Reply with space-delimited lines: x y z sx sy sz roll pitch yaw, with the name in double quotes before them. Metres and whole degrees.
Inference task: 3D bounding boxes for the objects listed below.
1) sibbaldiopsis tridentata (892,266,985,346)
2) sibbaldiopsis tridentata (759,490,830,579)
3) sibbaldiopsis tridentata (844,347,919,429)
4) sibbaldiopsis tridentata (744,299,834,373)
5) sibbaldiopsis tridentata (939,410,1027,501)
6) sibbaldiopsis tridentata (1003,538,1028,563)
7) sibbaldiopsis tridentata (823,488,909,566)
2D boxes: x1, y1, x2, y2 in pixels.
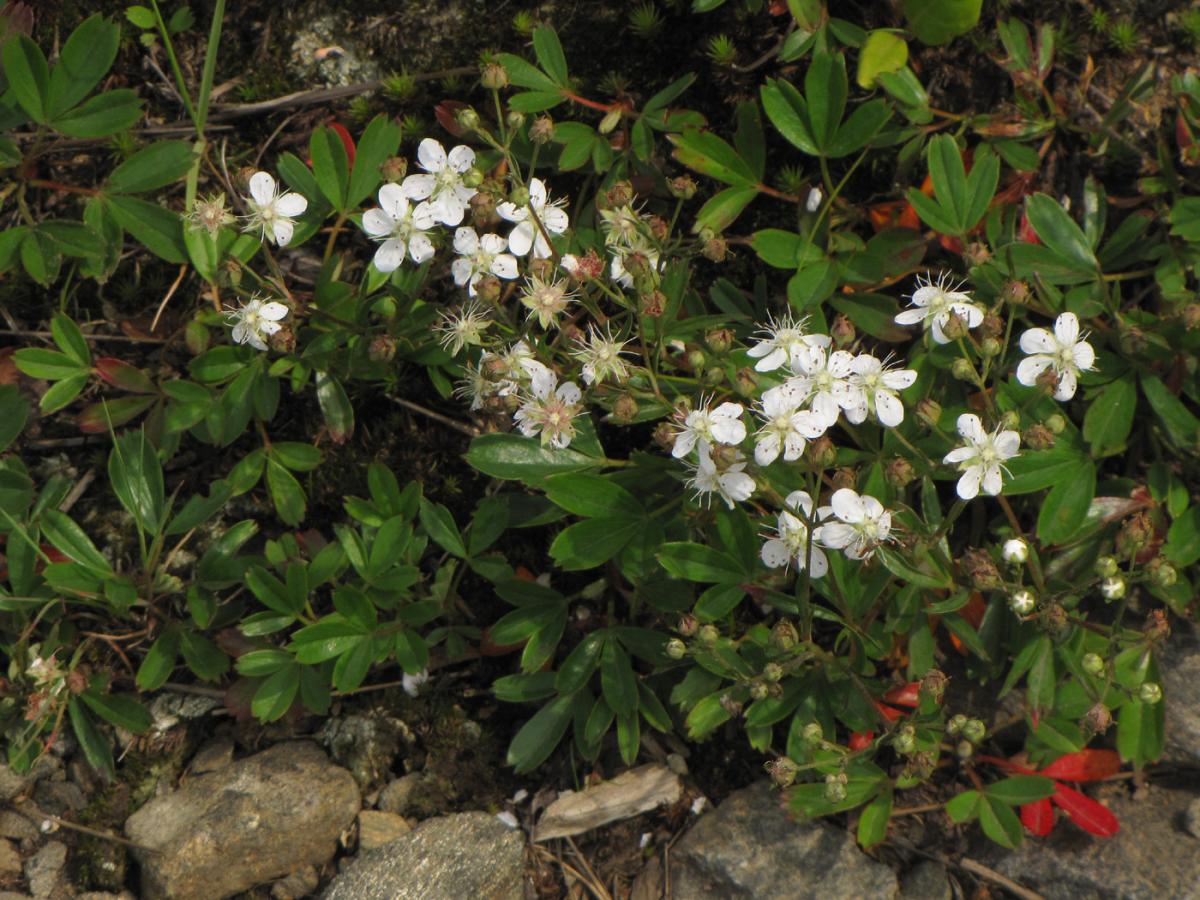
"sibbaldiopsis tridentata" 1.361 -0.562 4.042 0.318 0.157 0.332 18 97 -1
"sibbaldiopsis tridentata" 0.765 0.346 4.028 0.339 0.393 0.121 -8 97 14
"sibbaldiopsis tridentata" 1.064 -0.225 3.878 0.266 0.132 0.241 10 67 -6
"sibbaldiopsis tridentata" 0.760 -0.425 4.067 0.277 0.093 0.297 -15 52 9
"sibbaldiopsis tridentata" 1.404 0.022 3.777 0.231 0.163 0.338 24 67 0
"sibbaldiopsis tridentata" 1.560 0.366 3.811 0.115 0.072 0.084 6 67 -8
"sibbaldiopsis tridentata" 0.957 0.268 3.780 0.262 0.197 0.181 16 66 -3
